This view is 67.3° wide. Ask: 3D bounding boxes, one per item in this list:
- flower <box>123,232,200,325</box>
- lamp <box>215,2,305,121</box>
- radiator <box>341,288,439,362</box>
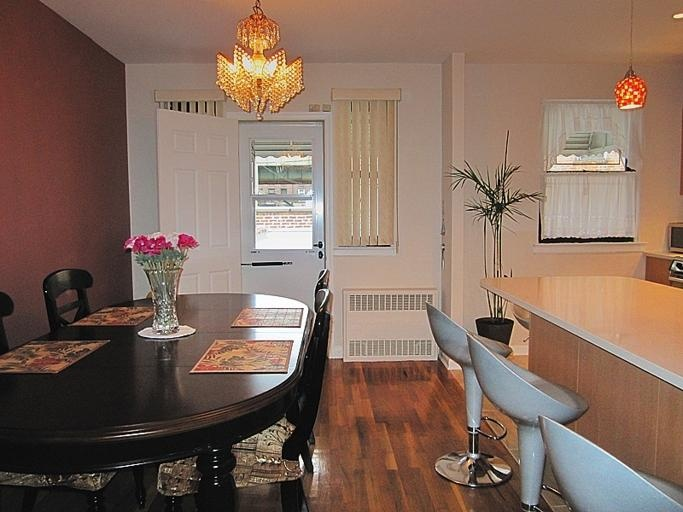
[{"bbox_3d":[-0.968,0.098,2.925,0.480,0.634,0.453,0,15,-13],"label":"flower"},{"bbox_3d":[-0.503,-1.224,3.190,0.522,0.712,0.264,1,11,-7],"label":"lamp"},{"bbox_3d":[0.448,0.664,4.966,0.688,0.531,0.098,0,2,-4],"label":"radiator"}]
